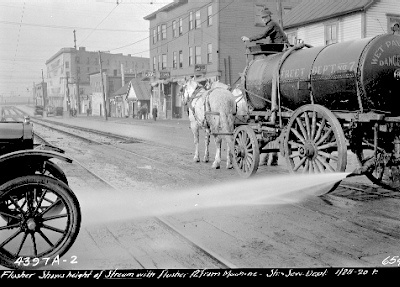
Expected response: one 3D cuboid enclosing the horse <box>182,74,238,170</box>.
[{"bbox_3d":[0.192,-0.690,12.837,0.739,2.708,3.222,-5,6,-22],"label":"horse"}]
